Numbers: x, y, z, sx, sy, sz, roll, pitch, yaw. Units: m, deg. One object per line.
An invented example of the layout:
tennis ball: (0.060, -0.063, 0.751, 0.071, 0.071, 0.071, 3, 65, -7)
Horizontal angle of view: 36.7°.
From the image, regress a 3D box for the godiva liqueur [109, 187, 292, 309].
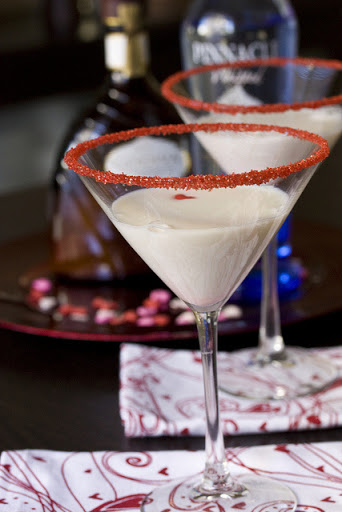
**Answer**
godiva liqueur: (0.025, 0.007, 0.352, 0.122, 0.065, 0.113, -9, -11, 42)
